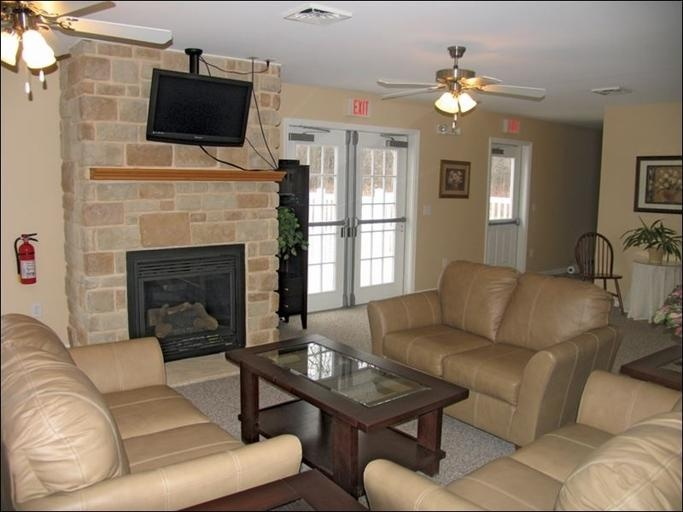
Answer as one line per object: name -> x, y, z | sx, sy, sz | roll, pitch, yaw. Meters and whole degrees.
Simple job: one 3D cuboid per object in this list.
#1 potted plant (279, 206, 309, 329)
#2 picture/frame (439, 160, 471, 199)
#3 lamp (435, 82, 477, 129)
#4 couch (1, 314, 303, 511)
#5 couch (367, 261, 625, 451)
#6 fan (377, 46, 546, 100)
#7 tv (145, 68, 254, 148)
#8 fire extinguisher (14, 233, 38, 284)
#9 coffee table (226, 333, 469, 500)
potted plant -> -0.549, 0.135, 5.561 | 0.330, 1.340, 0.176 | -3, 7, -7
picture/frame -> 1.654, -1.132, 7.345 | 0.032, 0.501, 0.576 | -7, 12, -30
lamp -> 0.875, -1.232, 3.909 | 0.281, 0.345, 0.306 | -1, -4, 4
couch -> -0.853, 0.317, 2.114 | 0.952, 0.779, 1.341 | -3, 9, -37
couch -> 1.086, 0.639, 3.845 | 0.954, 0.923, 1.716 | -10, 12, -34
fan -> 0.944, -1.468, 3.973 | 1.228, 0.453, 0.696 | -1, 6, 7
tv -> -1.174, -1.194, 4.030 | 0.826, 0.585, 0.083 | 3, 23, -35
fire extinguisher -> -2.644, 0.029, 4.233 | 0.177, 0.438, 0.152 | -6, 8, -32
coffee table -> 0.063, 0.862, 2.996 | 0.730, 0.557, 1.337 | -8, 14, -39
